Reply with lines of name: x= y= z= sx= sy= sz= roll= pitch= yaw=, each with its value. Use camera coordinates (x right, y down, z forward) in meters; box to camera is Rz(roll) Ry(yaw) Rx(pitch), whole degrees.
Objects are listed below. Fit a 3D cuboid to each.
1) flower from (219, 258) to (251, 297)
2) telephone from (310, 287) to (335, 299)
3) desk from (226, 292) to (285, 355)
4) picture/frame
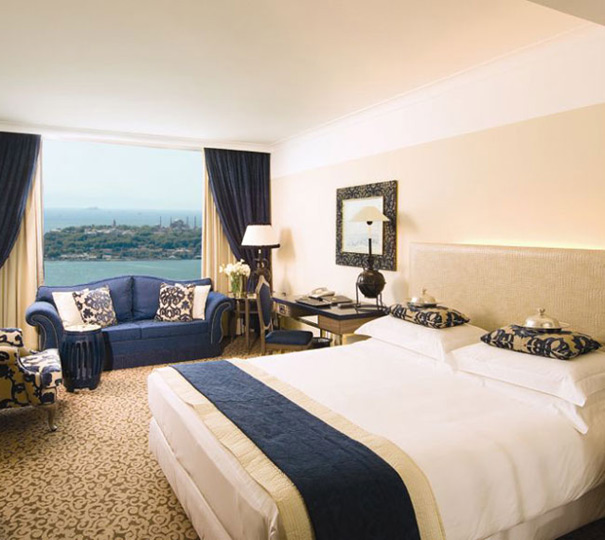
flower: x=-0.843 y=0.095 z=6.217 sx=0.463 sy=0.508 sz=0.448 roll=-1 pitch=3 yaw=-7
telephone: x=0.203 y=0.252 z=5.019 sx=0.172 sy=0.062 sz=0.129 roll=-5 pitch=5 yaw=-30
desk: x=-0.724 y=0.693 z=5.949 sx=0.694 sy=0.821 sz=0.686 roll=-4 pitch=8 yaw=-35
picture/frame: x=0.647 y=-0.436 z=4.707 sx=0.039 sy=0.816 sz=0.970 roll=-2 pitch=0 yaw=-22
